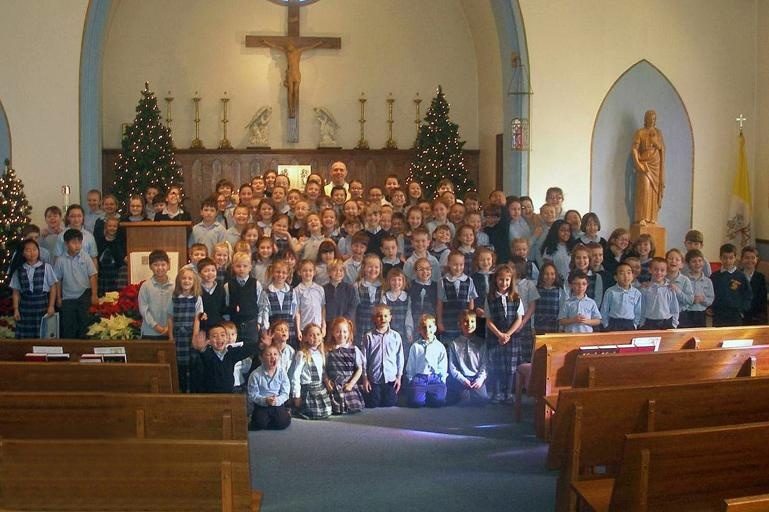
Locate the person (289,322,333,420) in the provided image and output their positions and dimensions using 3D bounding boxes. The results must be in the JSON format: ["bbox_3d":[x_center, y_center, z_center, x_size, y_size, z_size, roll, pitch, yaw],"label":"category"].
[{"bbox_3d":[-0.790,1.260,10.051,0.484,1.014,0.261,1,-1,-17],"label":"person"}]

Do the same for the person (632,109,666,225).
[{"bbox_3d":[4.002,-1.303,13.869,0.410,1.700,0.308,0,-1,24],"label":"person"}]

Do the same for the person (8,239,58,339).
[{"bbox_3d":[-4.236,0.539,11.136,0.519,1.427,0.380,-2,21,-20],"label":"person"}]

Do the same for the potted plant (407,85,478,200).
[{"bbox_3d":[1.003,-1.980,16.164,1.022,1.957,0.419,0,-1,2],"label":"potted plant"}]

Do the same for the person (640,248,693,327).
[{"bbox_3d":[3.387,0.436,11.003,0.333,0.857,0.726,-1,-2,45],"label":"person"}]

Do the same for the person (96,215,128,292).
[{"bbox_3d":[-3.458,0.012,11.803,0.484,1.175,0.395,1,28,-8],"label":"person"}]

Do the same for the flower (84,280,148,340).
[{"bbox_3d":[-3.038,0.620,10.475,0.666,0.472,0.650,18,44,4],"label":"flower"}]

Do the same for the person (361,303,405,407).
[{"bbox_3d":[-0.006,1.120,10.426,0.480,1.140,0.357,0,-1,-2],"label":"person"}]

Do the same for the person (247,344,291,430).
[{"bbox_3d":[-1.213,1.389,9.750,0.436,0.862,0.248,0,-1,-7],"label":"person"}]

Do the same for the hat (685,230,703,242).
[{"bbox_3d":[4.016,-0.244,11.900,0.198,0.111,0.264,6,4,10],"label":"hat"}]

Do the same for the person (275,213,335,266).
[{"bbox_3d":[-0.941,-0.179,11.146,0.570,0.789,0.288,4,-29,-13],"label":"person"}]

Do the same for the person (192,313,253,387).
[{"bbox_3d":[-1.741,1.097,9.938,0.646,0.725,0.237,0,-1,-7],"label":"person"}]

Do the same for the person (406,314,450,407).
[{"bbox_3d":[0.502,1.175,10.392,0.474,1.011,0.348,0,-1,1],"label":"person"}]
